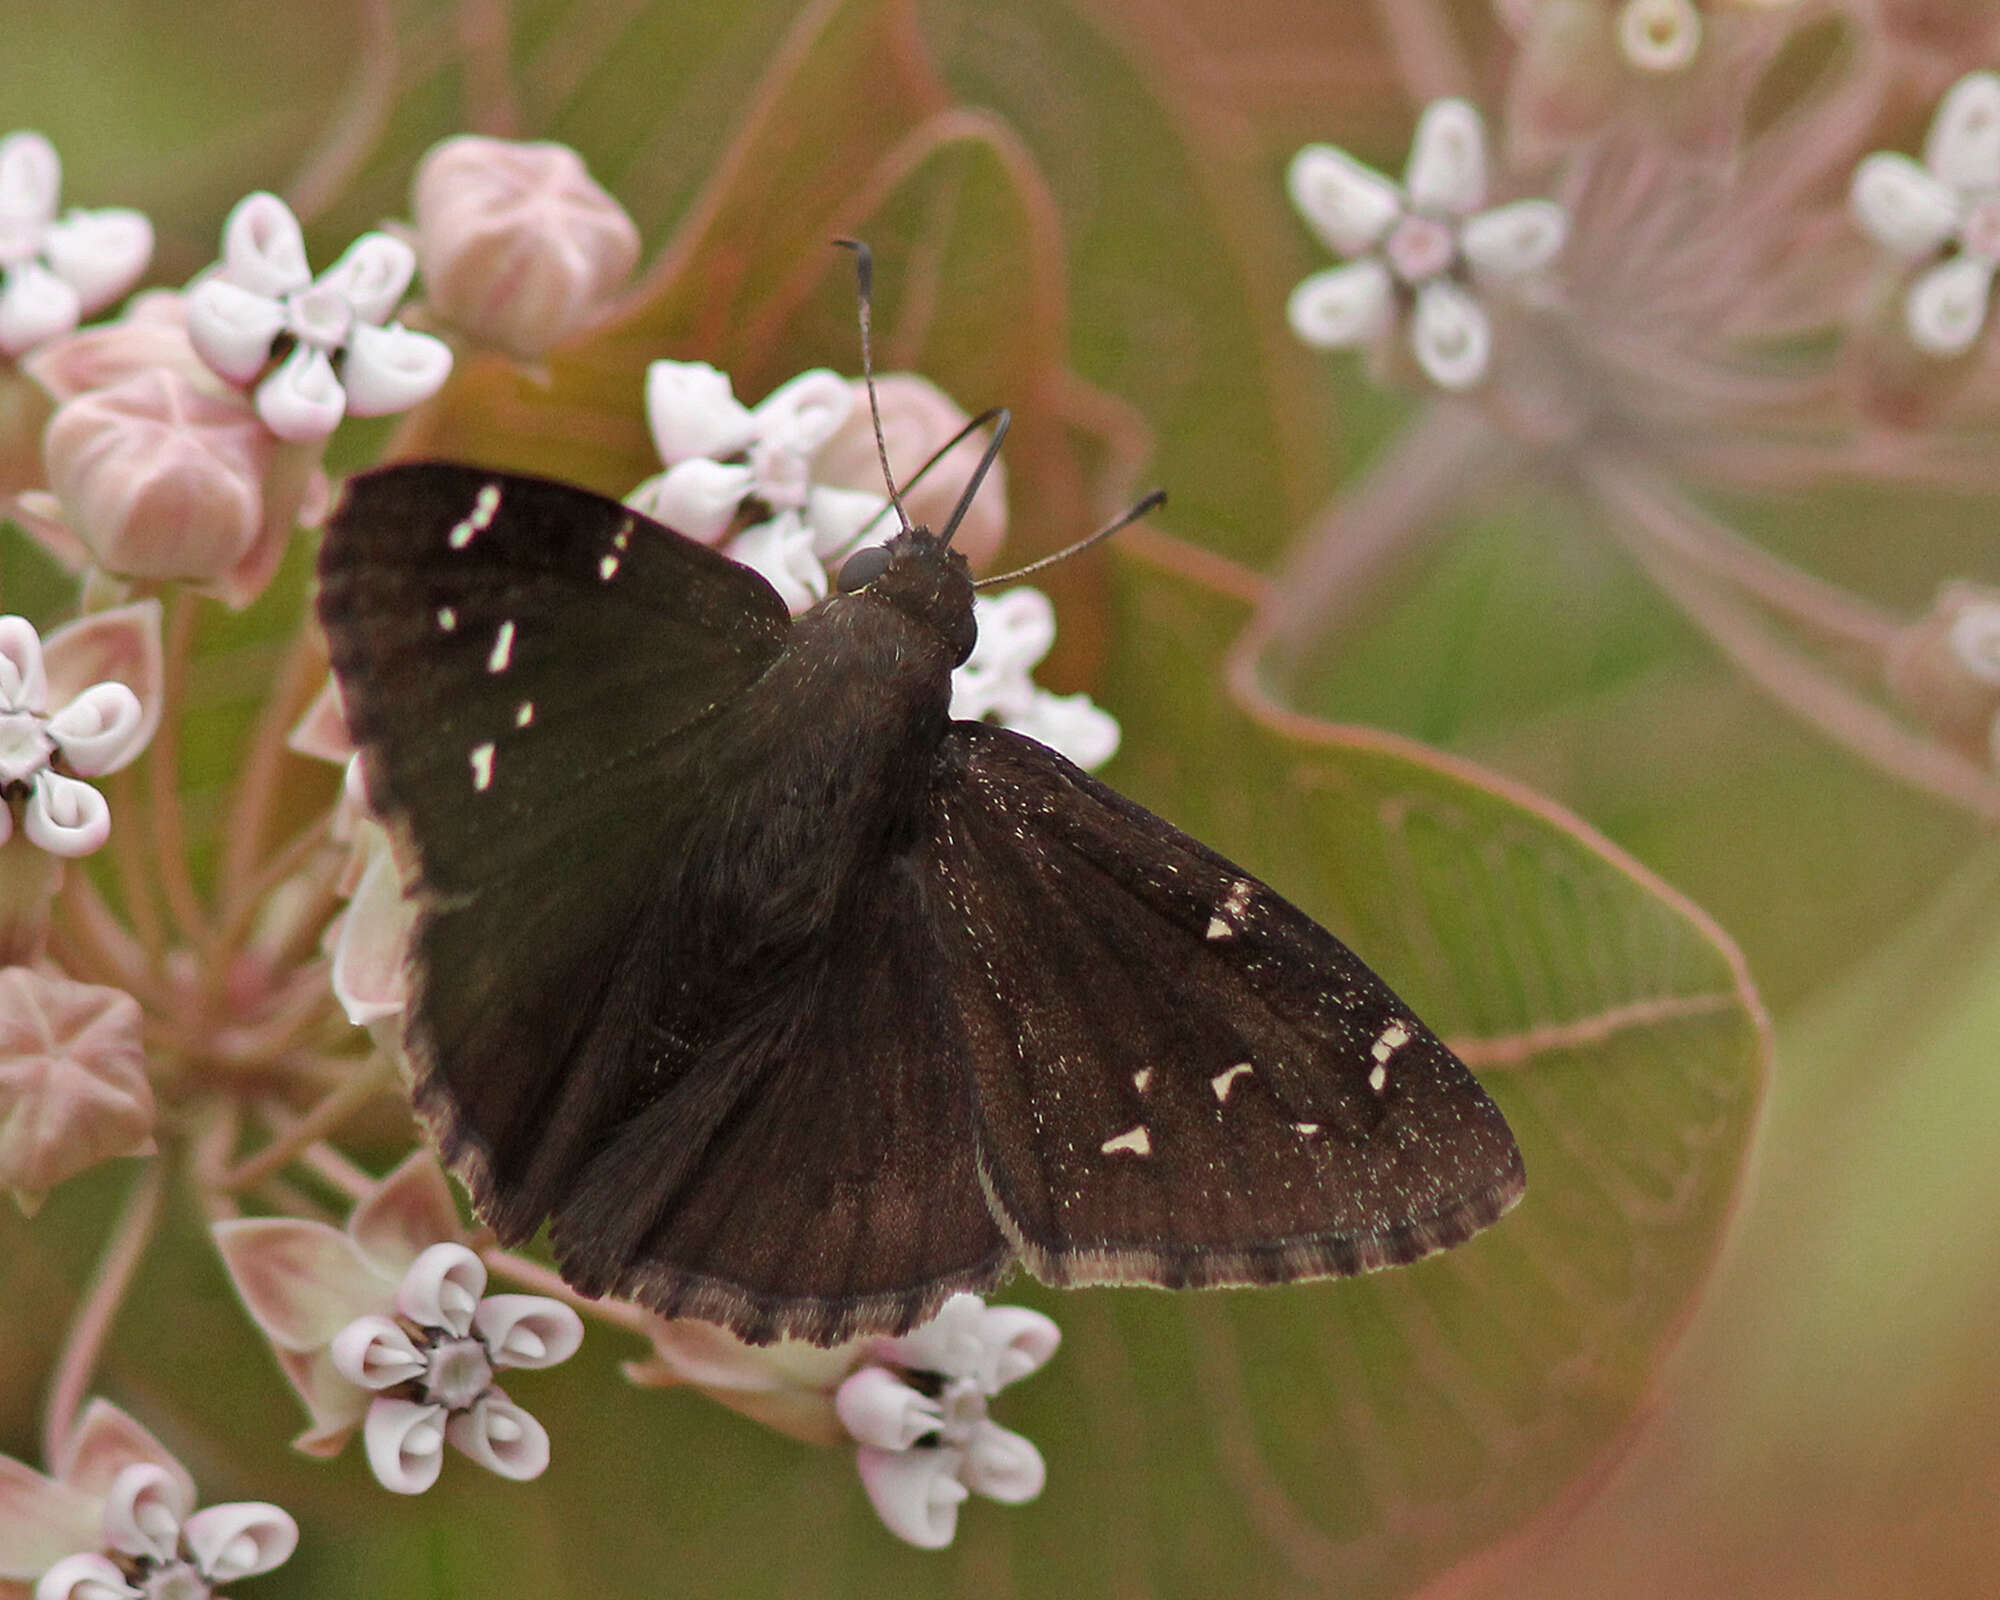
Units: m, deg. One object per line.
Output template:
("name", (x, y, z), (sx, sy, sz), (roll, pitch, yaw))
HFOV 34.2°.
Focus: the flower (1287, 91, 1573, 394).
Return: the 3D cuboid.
("flower", (0.191, -0.214, 1.424), (0.119, 0.039, 0.106), (28, -42, -31))
